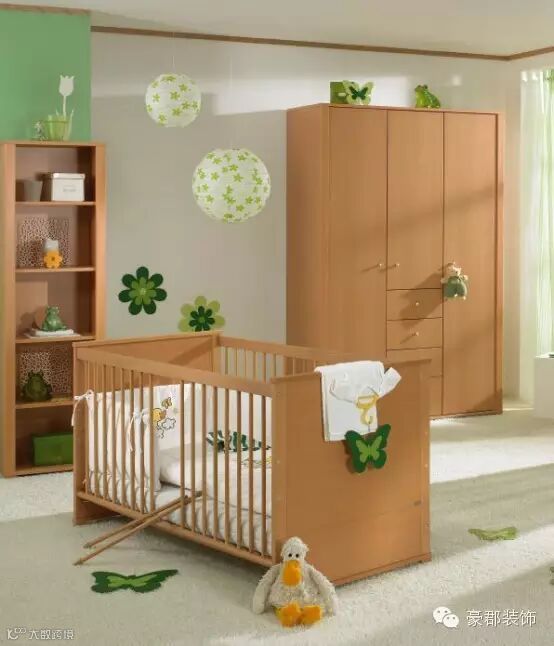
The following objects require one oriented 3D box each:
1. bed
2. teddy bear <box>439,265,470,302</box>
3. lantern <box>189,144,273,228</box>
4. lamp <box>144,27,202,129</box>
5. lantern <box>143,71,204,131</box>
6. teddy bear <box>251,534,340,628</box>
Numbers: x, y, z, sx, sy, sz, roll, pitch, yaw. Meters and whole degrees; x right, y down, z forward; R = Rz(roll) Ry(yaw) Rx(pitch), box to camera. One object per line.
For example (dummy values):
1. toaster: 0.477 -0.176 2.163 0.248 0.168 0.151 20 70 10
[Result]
1. bed: -0.140 0.338 2.403 0.841 0.681 1.158 -5 7 -42
2. teddy bear: 1.219 -0.281 4.489 0.281 0.313 0.099 -1 0 -11
3. lantern: -0.188 -0.562 2.656 0.331 0.302 0.306 0 9 -4
4. lamp: -0.504 -1.128 3.135 0.331 0.415 0.320 -1 6 -7
5. lantern: -0.496 -1.041 3.083 0.263 0.173 0.265 -3 5 -2
6. teddy bear: 0.063 0.690 1.776 0.212 0.223 0.168 0 -1 -36
